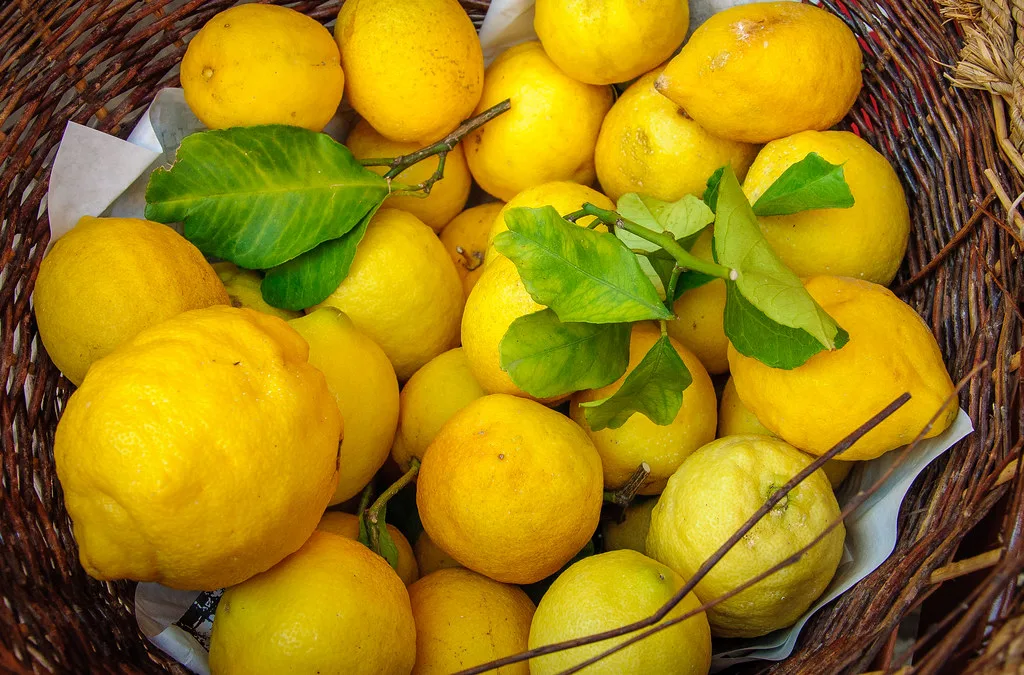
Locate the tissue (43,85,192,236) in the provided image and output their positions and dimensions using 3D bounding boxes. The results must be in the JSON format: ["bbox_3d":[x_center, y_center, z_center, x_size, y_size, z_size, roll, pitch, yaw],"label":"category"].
[{"bbox_3d":[-0.477,-0.209,1.160,0.177,0.067,0.158,-31,97,-31],"label":"tissue"}]

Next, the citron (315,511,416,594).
[{"bbox_3d":[-0.162,0.239,1.140,0.087,0.087,0.089,-3,68,22],"label":"citron"}]

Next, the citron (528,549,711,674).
[{"bbox_3d":[0.109,0.275,1.073,0.138,0.137,0.159,12,73,-12],"label":"citron"}]

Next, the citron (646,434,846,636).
[{"bbox_3d":[0.253,0.204,1.064,0.199,0.106,0.199,-39,75,-9],"label":"citron"}]

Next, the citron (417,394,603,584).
[{"bbox_3d":[0.002,0.164,1.143,0.198,0.201,0.190,2,67,3],"label":"citron"}]

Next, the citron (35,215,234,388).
[{"bbox_3d":[-0.429,-0.054,1.152,0.161,0.159,0.204,-43,53,-5],"label":"citron"}]

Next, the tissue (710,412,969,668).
[{"bbox_3d":[0.352,0.226,1.071,0.306,0.060,0.215,-42,36,11],"label":"tissue"}]
